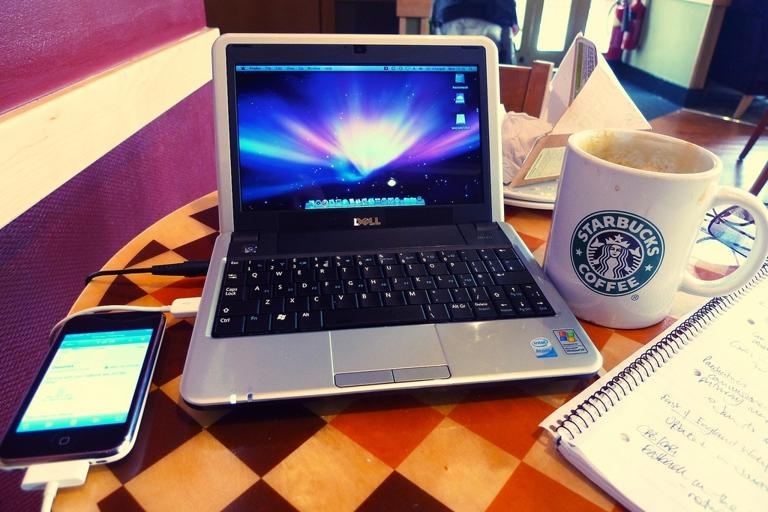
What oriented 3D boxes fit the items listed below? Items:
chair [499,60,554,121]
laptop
[{"bbox_3d":[0.310,-0.345,1.193,0.124,0.133,0.133,12,6,19],"label":"chair"},{"bbox_3d":[-0.019,-0.037,0.777,0.554,0.327,0.486,-3,40,-6],"label":"laptop"}]
